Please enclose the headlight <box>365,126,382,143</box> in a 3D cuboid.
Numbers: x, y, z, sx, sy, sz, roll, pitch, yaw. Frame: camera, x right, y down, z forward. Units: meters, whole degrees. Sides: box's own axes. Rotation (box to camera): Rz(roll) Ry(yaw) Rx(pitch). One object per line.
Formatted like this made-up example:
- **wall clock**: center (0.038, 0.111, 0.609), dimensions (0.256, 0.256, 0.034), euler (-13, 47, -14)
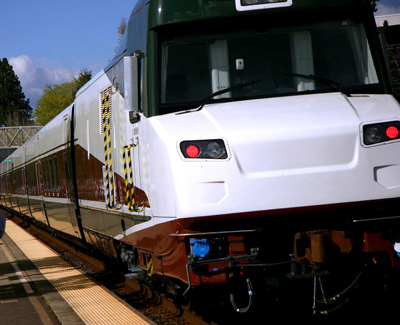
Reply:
- **headlight**: center (1.737, -0.289, 3.403), dimensions (0.130, 0.169, 0.035), euler (-2, 3, -5)
